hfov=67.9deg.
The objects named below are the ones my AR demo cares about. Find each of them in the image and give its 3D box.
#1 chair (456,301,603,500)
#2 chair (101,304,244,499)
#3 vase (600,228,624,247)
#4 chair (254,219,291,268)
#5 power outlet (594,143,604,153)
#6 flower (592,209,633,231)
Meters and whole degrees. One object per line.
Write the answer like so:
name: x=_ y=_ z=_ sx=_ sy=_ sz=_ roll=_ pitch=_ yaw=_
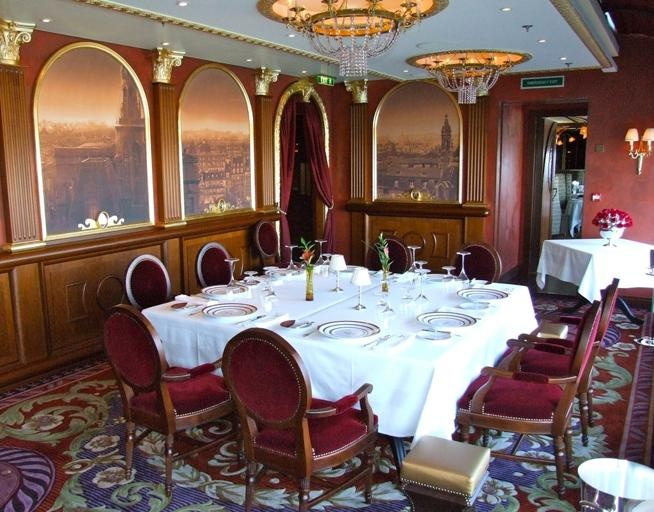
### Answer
chair: x=1.312 y=0.898 z=3.243 sx=0.768 sy=1.224 sz=0.602 roll=6 pitch=15 yaw=24
chair: x=-1.024 y=0.897 z=3.214 sx=0.735 sy=1.254 sz=0.437 roll=-7 pitch=16 yaw=-25
vase: x=3.855 y=-0.268 z=6.619 sx=0.321 sy=0.241 sz=0.289 roll=1 pitch=1 yaw=8
chair: x=-0.840 y=-0.189 z=7.338 sx=0.374 sy=0.755 sz=0.918 roll=3 pitch=14 yaw=14
power outlet: x=4.086 y=-1.628 z=7.314 sx=0.140 sy=0.123 sz=0.033 roll=4 pitch=11 yaw=23
flower: x=3.881 y=-0.517 z=6.599 sx=0.400 sy=0.165 sz=0.400 roll=2 pitch=16 yaw=37
